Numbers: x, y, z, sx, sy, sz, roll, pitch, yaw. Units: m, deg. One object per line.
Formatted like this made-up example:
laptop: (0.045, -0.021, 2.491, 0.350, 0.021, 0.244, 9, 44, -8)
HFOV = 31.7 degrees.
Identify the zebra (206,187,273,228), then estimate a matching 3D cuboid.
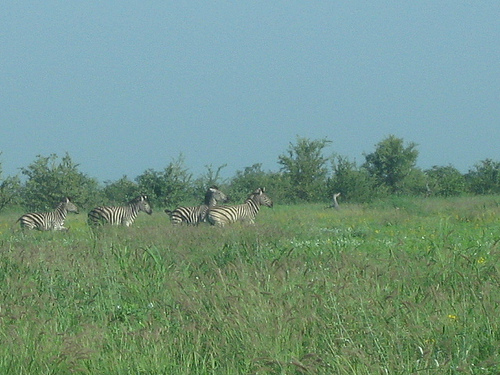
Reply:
zebra: (-0.331, 0.582, 26.884, 2.289, 0.973, 0.834, -4, 5, -44)

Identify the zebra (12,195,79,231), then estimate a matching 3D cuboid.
zebra: (-6.328, 0.892, 27.614, 0.703, 0.919, 2.011, 2, 4, 36)
